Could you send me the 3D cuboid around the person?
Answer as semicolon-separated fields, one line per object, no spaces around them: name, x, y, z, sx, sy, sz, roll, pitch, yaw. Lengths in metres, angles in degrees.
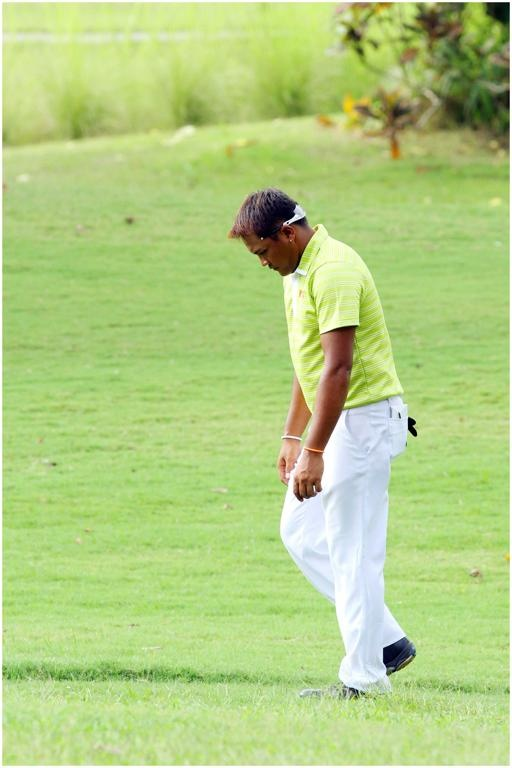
person;0.271;0.246;4.251;0.473;1.780;0.705;-11;17;-33
